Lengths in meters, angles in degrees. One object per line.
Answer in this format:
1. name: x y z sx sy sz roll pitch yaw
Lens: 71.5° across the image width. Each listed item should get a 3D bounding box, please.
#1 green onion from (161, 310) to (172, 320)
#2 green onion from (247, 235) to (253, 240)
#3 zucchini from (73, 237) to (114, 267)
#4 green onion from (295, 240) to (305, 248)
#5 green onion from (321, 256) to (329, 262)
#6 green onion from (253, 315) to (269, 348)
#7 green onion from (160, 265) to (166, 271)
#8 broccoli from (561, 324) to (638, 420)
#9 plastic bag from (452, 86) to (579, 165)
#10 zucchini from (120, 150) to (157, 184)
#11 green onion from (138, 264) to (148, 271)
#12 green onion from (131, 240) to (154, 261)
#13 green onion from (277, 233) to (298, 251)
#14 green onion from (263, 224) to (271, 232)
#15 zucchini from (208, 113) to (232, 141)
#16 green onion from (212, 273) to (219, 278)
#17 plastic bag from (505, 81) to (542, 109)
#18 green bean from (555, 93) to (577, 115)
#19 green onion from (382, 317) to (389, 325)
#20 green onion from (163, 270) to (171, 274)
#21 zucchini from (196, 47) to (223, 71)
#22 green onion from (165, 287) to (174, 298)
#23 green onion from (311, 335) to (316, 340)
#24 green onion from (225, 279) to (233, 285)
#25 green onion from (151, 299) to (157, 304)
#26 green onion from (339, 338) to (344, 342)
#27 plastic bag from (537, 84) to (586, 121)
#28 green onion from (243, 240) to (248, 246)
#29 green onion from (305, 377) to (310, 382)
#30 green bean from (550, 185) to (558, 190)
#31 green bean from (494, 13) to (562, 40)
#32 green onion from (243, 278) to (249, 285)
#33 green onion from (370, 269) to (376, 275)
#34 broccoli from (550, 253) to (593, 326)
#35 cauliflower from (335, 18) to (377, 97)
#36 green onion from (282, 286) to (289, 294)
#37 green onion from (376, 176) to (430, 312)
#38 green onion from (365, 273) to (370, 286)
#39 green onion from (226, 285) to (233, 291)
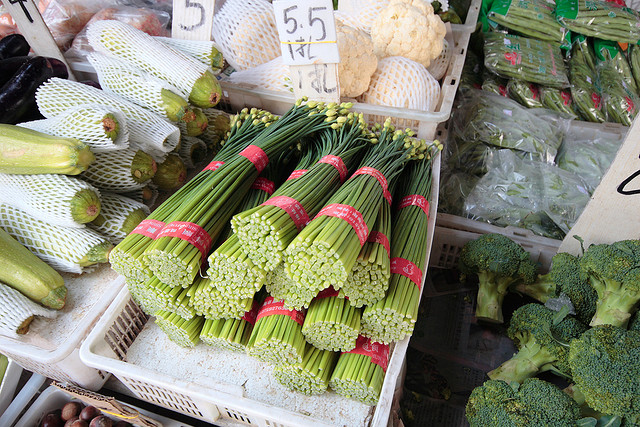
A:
1. green onion: -0.709 0.465 2.048 0.060 0.017 0.016 -49 33 -15
2. green onion: -0.297 0.100 1.869 0.016 0.016 0.004 18 6 -3
3. zucchini: -1.136 0.207 2.283 0.169 0.108 0.128 4 12 31
4. green onion: -0.084 0.124 1.814 0.029 0.023 0.012 4 49 7
5. green onion: 0.022 0.183 1.797 0.019 0.021 0.024 4 22 32
6. green onion: -0.258 0.536 1.995 0.037 0.021 0.159 28 93 43
7. green onion: -0.682 0.235 1.924 0.024 0.028 0.011 5 49 8
8. broccoli: 1.369 0.761 2.133 0.349 0.131 0.411 15 85 27
9. plastic bag: 1.392 -0.556 3.306 0.783 0.241 0.528 25 78 3
10. zucchini: -0.944 -0.245 2.362 0.160 0.135 0.130 -14 -1 31
11. green onion: -0.783 0.238 1.958 0.024 0.025 0.008 -40 57 -5
12. green onion: -0.790 0.165 1.972 0.022 0.017 0.102 4 45 33
13. green onion: -0.129 0.119 1.884 0.034 0.032 0.117 35 60 28
14. green onion: -0.222 0.059 1.846 0.019 0.021 0.024 1 23 17
15. zucchini: -0.582 -0.547 2.701 0.128 0.145 0.168 -33 23 0
16. green onion: -0.453 0.268 1.921 0.025 0.016 0.013 12 51 13
17. plastic bag: 1.572 -0.921 3.464 0.147 0.095 0.283 -42 76 -7
18. green bean: 1.900 -0.843 3.425 0.026 0.026 0.244 -29 70 6
19. green onion: 0.285 0.466 1.930 0.025 0.051 0.019 -1 78 7
20. green onion: -0.665 0.255 1.927 0.018 0.014 0.007 9 45 7
21. zucchini: -0.639 -0.901 2.582 0.086 0.096 0.115 -5 23 28
22. green onion: -0.666 0.354 1.966 0.018 0.016 0.037 27 56 24
23. green onion: -0.028 0.555 1.983 0.020 0.023 0.006 2 49 5
24. green onion: -0.393 0.297 1.924 0.024 0.022 0.012 10 50 11
25. green onion: -0.763 0.401 2.036 0.024 0.006 0.024 -45 20 -7
26. green onion: 0.097 0.559 1.968 0.012 0.017 0.005 -15 45 20
27. plastic bag: 1.955 -0.894 3.500 0.334 0.522 0.138 -14 72 28
28. green onion: -0.313 0.123 1.879 0.020 0.005 0.020 -5 94 -3
29. green onion: -0.054 0.744 1.996 0.025 0.025 0.006 2 16 3
30. green bean: 1.515 -0.170 2.862 0.041 0.012 0.030 4 50 7
31. green bean: 1.689 -1.556 3.670 0.840 0.153 0.127 -10 54 -23
32. green onion: -0.322 0.292 1.909 0.017 0.018 0.016 5 14 -1
33. green onion: 0.225 0.245 1.876 0.025 0.008 0.026 2 90 -2
34. broccoli: 1.413 0.441 2.568 0.259 0.132 0.336 -19 84 -54
35. cauliflower: 0.207 -0.853 2.514 0.202 0.406 0.306 3 10 21
36. green onion: -0.153 0.336 1.951 0.018 0.024 0.006 -14 6 16
37. green onion: 0.384 0.132 2.094 0.058 0.114 0.694 -10 47 53
38. green onion: 0.204 0.276 1.890 0.031 0.016 0.046 -2 79 6
39. green onion: -0.396 0.322 1.934 0.026 0.023 0.012 3 49 6
